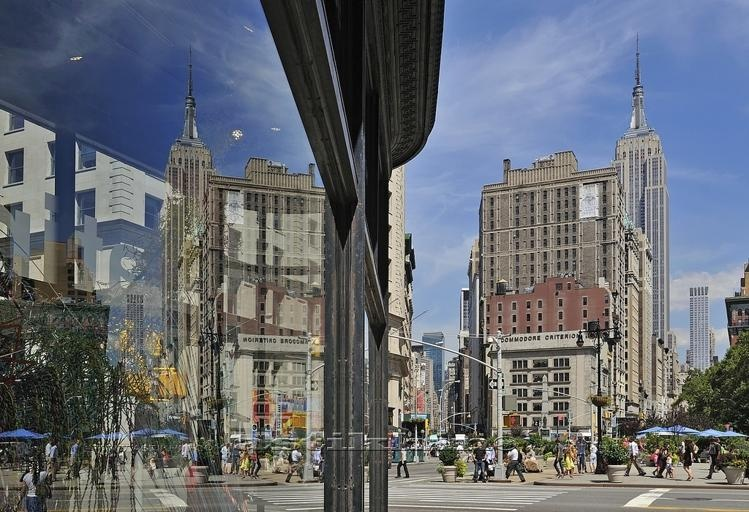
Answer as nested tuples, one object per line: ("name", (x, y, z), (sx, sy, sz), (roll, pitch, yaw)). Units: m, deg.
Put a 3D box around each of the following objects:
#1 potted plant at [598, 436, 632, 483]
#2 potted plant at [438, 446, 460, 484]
("potted plant", (7.016, 5.878, 39.121), (0.857, 1.019, 0.967), (7, 5, 38))
("potted plant", (2.470, 6.510, 41.293), (0.664, 0.884, 0.622), (4, -10, -18))
